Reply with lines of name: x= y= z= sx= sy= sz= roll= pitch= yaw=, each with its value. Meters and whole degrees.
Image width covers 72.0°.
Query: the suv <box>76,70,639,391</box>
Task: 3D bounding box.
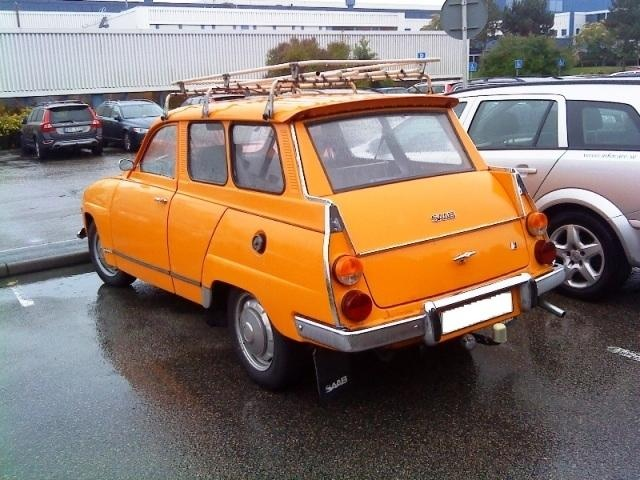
suv: x=-0.465 y=-0.293 z=4.576 sx=2.580 sy=2.246 sz=4.708 roll=-15 pitch=27 yaw=-36

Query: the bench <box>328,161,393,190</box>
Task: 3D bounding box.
bench: x=0.301 y=-0.476 z=3.277 sx=0.583 sy=0.211 sz=0.015 roll=-15 pitch=-11 yaw=-30
